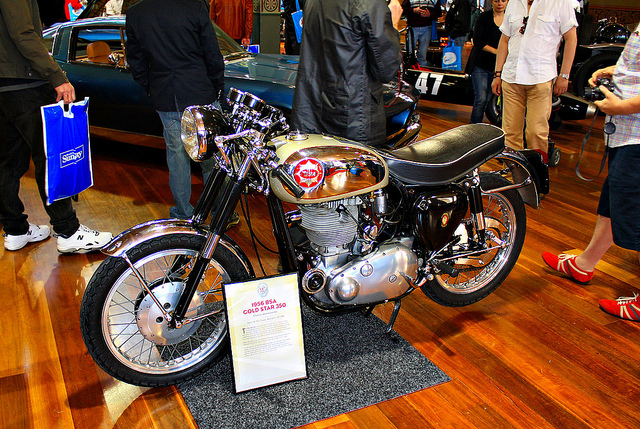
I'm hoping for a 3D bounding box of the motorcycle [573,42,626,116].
[{"bbox_3d":[4.346,-2.150,7.093,0.594,1.026,0.996,15,35,25],"label":"motorcycle"}]

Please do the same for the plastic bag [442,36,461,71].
[{"bbox_3d":[2.326,-2.870,7.947,0.354,0.134,0.805,-1,73,22],"label":"plastic bag"}]
